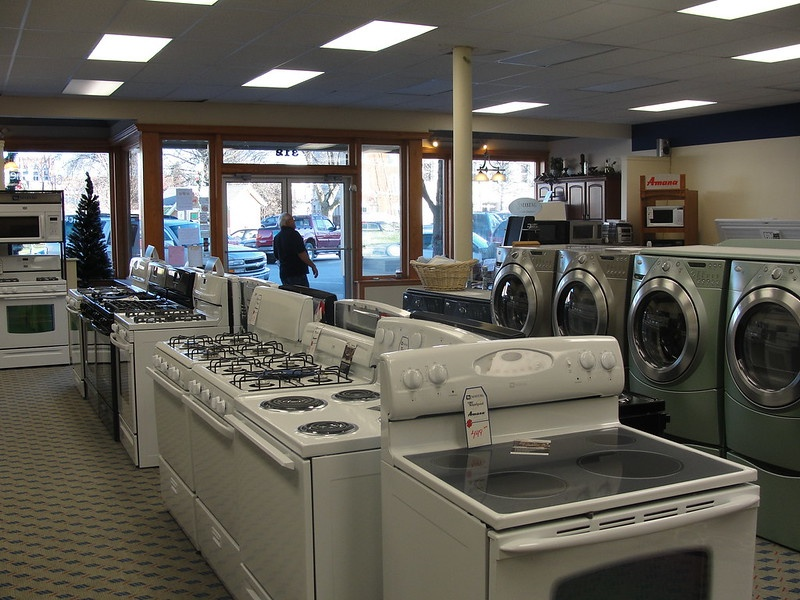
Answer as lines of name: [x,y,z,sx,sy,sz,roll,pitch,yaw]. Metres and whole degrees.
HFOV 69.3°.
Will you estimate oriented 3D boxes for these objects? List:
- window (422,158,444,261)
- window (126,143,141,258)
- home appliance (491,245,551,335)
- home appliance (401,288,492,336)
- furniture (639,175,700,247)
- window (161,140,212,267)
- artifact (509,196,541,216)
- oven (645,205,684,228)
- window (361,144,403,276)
window: [0.702,-1.843,12.175,0.539,1.888,0.298,1,12,19]
window: [-4.742,-1.742,10.386,0.214,2.035,0.205,-2,13,-30]
home appliance: [1.129,-0.087,5.238,0.303,0.766,0.724,-4,8,-23]
home appliance: [0.541,0.194,5.954,0.396,0.443,0.671,-1,4,-23]
furniture: [4.795,-1.531,10.373,0.767,1.373,0.855,-13,15,-34]
window: [-3.355,-1.415,9.125,0.890,2.760,0.132,-6,42,-27]
artifact: [1.535,-1.150,7.142,0.328,0.200,0.345,-4,8,-23]
oven: [4.658,-1.344,10.187,0.609,0.362,0.391,1,1,23]
window: [-0.301,-1.536,10.083,0.970,2.713,0.241,-2,-16,4]
